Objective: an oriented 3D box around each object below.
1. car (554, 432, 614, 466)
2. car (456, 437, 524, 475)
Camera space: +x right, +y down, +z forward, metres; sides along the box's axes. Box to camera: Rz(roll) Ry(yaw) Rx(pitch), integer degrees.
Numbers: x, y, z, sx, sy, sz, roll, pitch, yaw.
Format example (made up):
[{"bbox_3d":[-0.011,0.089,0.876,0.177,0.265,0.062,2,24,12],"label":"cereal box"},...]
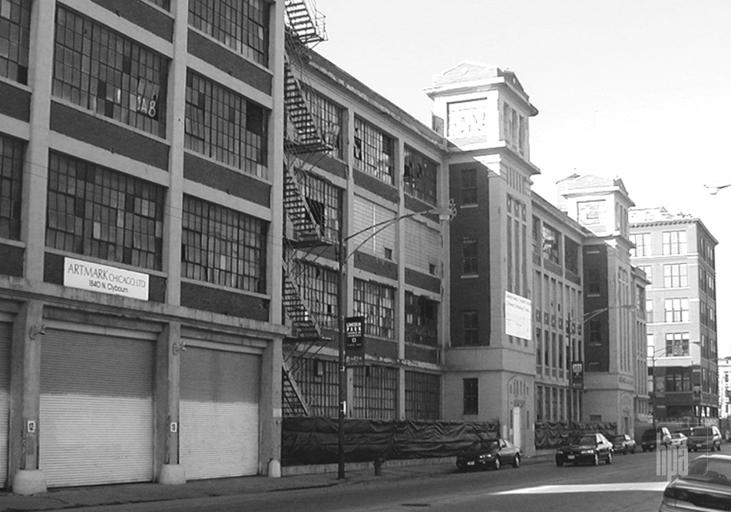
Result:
[{"bbox_3d":[12.258,10.857,67.890,2.084,2.135,4.130,-12,-20,28],"label":"car"},{"bbox_3d":[6.503,10.600,63.434,2.478,1.855,4.365,-6,-9,29],"label":"car"}]
